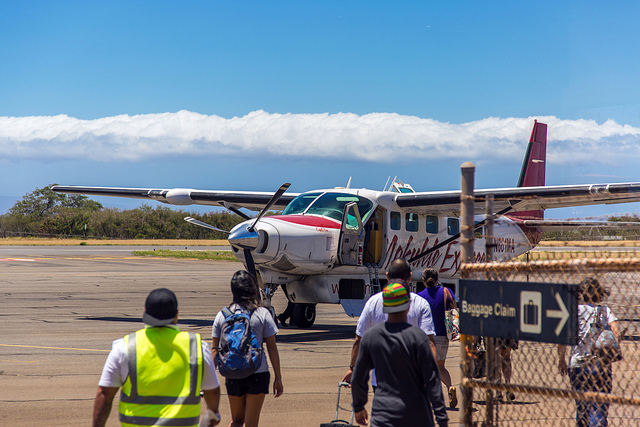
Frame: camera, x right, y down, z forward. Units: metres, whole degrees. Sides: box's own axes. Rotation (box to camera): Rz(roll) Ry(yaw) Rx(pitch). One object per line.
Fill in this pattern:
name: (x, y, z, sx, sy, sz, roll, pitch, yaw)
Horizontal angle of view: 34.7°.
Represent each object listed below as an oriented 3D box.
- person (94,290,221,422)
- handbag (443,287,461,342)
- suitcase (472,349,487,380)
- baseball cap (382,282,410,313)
person: (-2.252, 1.958, 14.248, 1.623, 1.666, 0.390, 2, 0, 6)
handbag: (2.251, 1.734, 17.706, 0.289, 0.917, 0.804, 2, 0, 8)
suitcase: (2.760, 2.611, 17.672, 0.308, 0.436, 0.303, -6, -10, 41)
baseball cap: (1.061, 1.200, 14.655, 0.311, 0.417, 0.245, -4, -35, 12)
